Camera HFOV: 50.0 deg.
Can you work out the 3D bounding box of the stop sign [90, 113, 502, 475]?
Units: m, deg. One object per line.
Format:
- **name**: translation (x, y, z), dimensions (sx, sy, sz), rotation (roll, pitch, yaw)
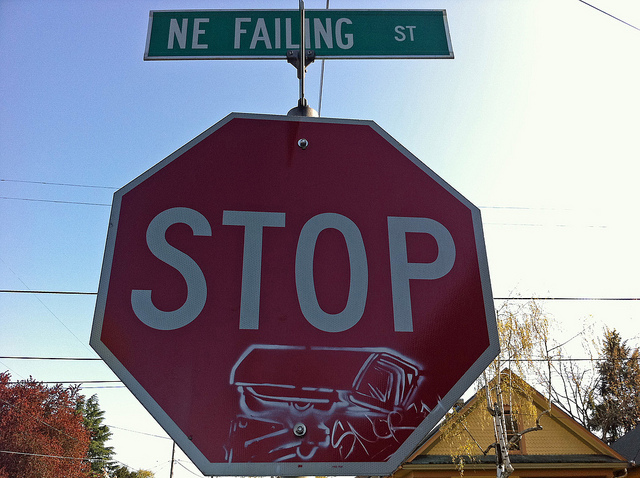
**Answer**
- **stop sign**: translation (-0.104, 0.248, 2.808), dimensions (1.288, 1.345, 0.153), rotation (-1, -17, -2)
